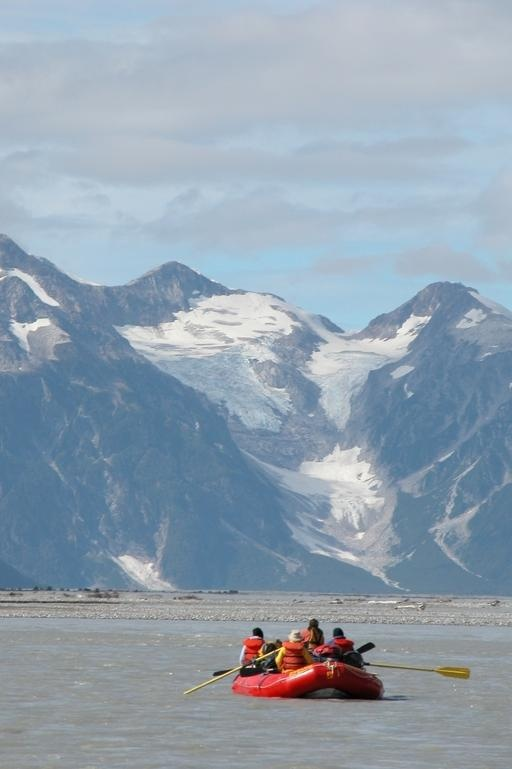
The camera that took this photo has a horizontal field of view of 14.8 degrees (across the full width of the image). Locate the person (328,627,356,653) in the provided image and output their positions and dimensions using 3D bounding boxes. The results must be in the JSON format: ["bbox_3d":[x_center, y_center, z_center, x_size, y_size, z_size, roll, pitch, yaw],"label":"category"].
[{"bbox_3d":[3.601,10.958,84.545,0.920,1.066,1.737,6,-1,6],"label":"person"}]

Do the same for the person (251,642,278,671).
[{"bbox_3d":[0.459,11.672,84.877,0.524,1.251,0.878,28,-28,-19],"label":"person"}]

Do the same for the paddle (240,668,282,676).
[{"bbox_3d":[0.238,12.320,84.729,1.894,0.552,0.211,-11,-15,39],"label":"paddle"}]
